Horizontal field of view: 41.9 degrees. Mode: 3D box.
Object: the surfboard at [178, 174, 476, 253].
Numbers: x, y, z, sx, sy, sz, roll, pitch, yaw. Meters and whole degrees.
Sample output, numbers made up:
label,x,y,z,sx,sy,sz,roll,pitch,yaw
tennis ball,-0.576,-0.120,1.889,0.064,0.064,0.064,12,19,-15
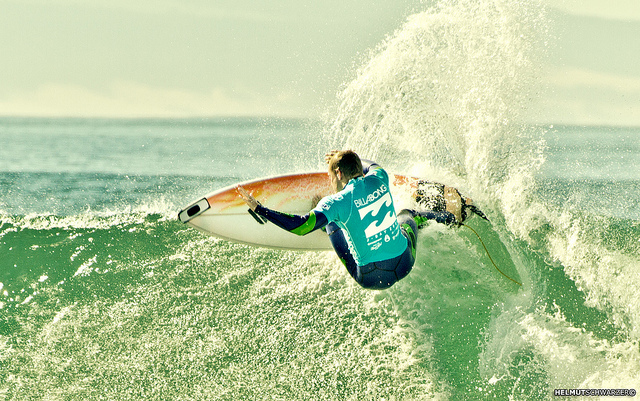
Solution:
label,x,y,z,sx,sy,sz,roll,pitch,yaw
surfboard,-1.589,0.214,25.173,0.897,2.298,10.499,41,-24,-25
